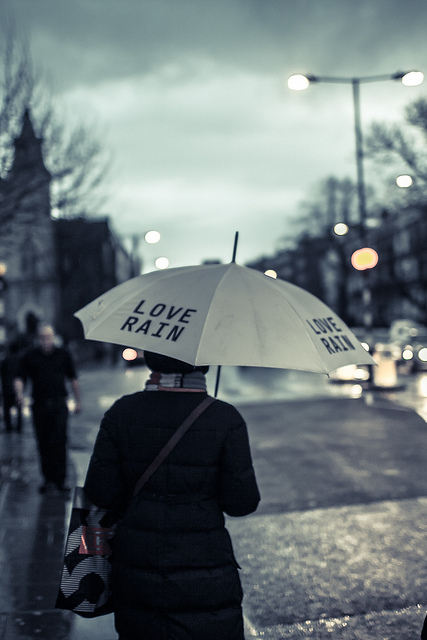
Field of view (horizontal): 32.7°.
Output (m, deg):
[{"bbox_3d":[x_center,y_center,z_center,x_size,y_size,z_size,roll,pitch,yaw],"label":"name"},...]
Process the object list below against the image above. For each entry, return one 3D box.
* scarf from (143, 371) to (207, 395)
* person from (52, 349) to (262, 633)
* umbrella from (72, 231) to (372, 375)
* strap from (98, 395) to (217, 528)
[{"bbox_3d":[-0.160,0.258,2.995,0.256,0.085,0.155,-3,5,-3],"label":"scarf"},{"bbox_3d":[-0.250,0.680,2.921,0.779,1.091,0.492,0,6,33],"label":"person"},{"bbox_3d":[-0.025,-0.033,3.319,0.939,0.501,0.870,4,7,-28],"label":"umbrella"},{"bbox_3d":[-0.203,0.550,2.847,0.067,0.614,0.072,35,-6,21],"label":"strap"}]
